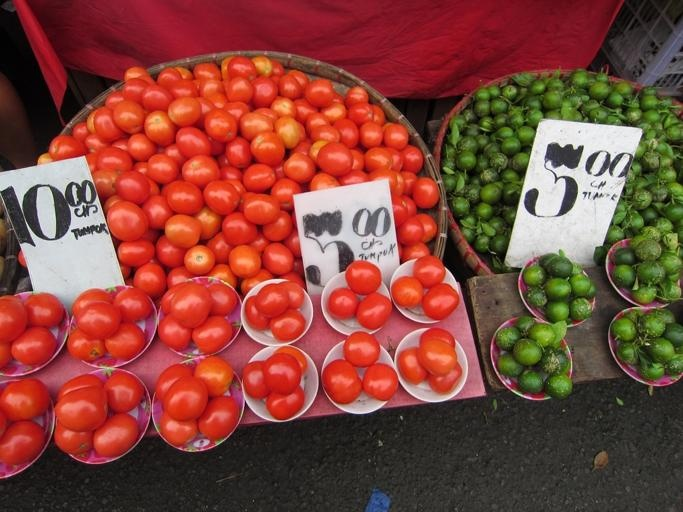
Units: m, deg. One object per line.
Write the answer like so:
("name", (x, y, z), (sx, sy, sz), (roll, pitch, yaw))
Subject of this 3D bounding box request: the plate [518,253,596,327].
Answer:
("plate", (1.253, 0.214, 3.339), (0.424, 0.237, 0.425), (41, 87, 15))

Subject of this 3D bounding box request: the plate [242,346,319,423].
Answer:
("plate", (-0.348, 0.648, 2.869), (0.400, 0.224, 0.387), (-17, 67, -21))

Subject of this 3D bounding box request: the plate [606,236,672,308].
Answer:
("plate", (1.690, 0.117, 3.141), (0.376, 0.115, 0.382), (-16, 86, 3))

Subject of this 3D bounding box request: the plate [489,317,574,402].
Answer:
("plate", (1.078, 0.569, 3.103), (0.427, 0.202, 0.466), (-7, 70, 0))

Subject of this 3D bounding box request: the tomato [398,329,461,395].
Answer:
("tomato", (0.472, 0.564, 2.894), (0.330, 0.214, 0.340), (0, 92, 1))

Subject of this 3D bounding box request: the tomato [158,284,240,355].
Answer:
("tomato", (-0.738, 0.329, 2.922), (0.398, 0.213, 0.390), (-15, 95, -15))

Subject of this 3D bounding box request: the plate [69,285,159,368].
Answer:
("plate", (-1.219, 0.365, 2.990), (0.424, 0.226, 0.437), (22, 75, -7))

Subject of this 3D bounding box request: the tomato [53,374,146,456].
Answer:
("tomato", (-1.214, 0.791, 2.836), (0.428, 0.232, 0.430), (25, 63, -5))

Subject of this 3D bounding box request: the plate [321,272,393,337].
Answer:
("plate", (0.113, 0.264, 3.153), (0.425, 0.122, 0.412), (-32, 98, -39))

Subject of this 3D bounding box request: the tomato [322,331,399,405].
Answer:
("tomato", (0.088, 0.606, 2.874), (0.397, 0.228, 0.396), (-10, 89, -6))

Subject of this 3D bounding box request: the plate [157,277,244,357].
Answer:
("plate", (-0.773, 0.333, 2.960), (0.472, 0.266, 0.464), (-6, 56, -3))

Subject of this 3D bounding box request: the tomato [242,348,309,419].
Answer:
("tomato", (-0.321, 0.638, 2.818), (0.346, 0.144, 0.331), (-25, 96, 6))
